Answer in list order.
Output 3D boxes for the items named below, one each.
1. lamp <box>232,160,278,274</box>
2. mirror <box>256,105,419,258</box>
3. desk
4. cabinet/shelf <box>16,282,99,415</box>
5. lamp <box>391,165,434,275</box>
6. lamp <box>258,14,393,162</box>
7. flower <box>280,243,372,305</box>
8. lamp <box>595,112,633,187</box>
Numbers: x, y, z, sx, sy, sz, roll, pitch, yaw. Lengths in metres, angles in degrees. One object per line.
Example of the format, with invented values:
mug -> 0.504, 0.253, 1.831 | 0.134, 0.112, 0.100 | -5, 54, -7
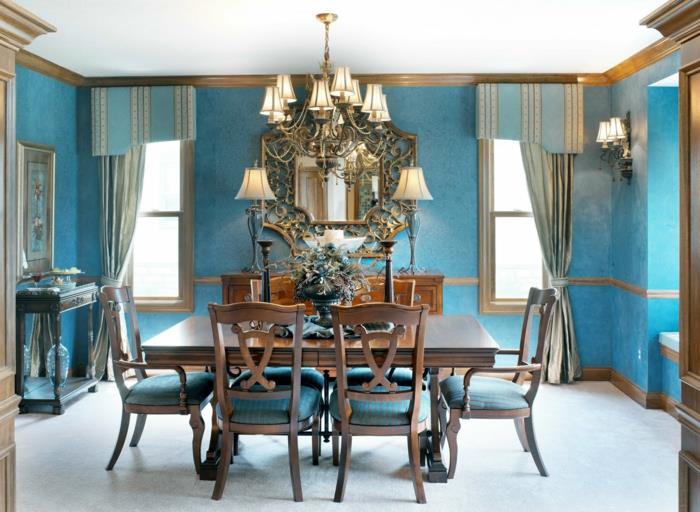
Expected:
lamp -> -0.941, -0.392, 6.330 | 0.373, 1.094, 0.625 | -1, 9, -8
mirror -> -0.126, -0.707, 6.430 | 1.748, 1.523, 0.102 | 4, 9, 24
desk -> -2.730, 0.866, 5.899 | 0.447, 1.097, 1.144 | 0, 0, -6
cabinet/shelf -> -2.790, 0.861, 6.063 | 0.496, 1.110, 1.163 | -1, 0, -10
lamp -> 0.626, -0.374, 6.361 | 0.405, 1.057, 0.575 | 1, 9, 7
lamp -> -0.200, -1.237, 5.015 | 0.991, 1.268, 0.993 | -3, 3, -45
flower -> -0.172, 0.135, 4.719 | 0.472, 0.435, 0.477 | 1, -1, -10
lamp -> 2.578, -1.059, 6.241 | 0.324, 0.674, 0.550 | 2, 10, 12
